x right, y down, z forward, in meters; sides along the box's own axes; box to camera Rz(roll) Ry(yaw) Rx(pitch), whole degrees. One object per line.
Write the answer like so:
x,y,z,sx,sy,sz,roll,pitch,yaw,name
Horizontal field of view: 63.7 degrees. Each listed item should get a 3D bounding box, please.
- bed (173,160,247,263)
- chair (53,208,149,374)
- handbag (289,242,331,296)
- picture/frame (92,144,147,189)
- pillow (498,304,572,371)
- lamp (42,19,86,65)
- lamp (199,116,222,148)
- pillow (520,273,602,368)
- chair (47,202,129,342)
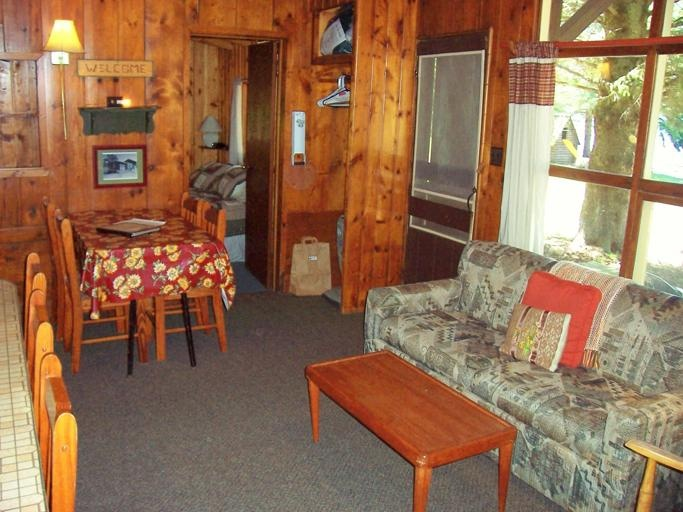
-1.587,-0.738,6.892,1.257,0.816,1.264,-7,27,-20,bed
-1.767,0.288,4.044,0.639,1.143,0.658,-4,38,-19,chair
-0.333,0.146,5.744,0.494,0.732,0.251,-2,7,-23,handbag
-2.028,-0.828,4.978,0.399,0.356,0.030,-3,10,-25,picture/frame
1.190,0.498,3.408,0.104,0.441,0.465,20,-20,-21,pillow
-2.281,-1.732,4.531,0.279,0.392,0.282,-9,19,-43,lamp
-1.967,-1.857,8.249,0.431,0.586,0.441,-2,16,-13,lamp
1.355,0.401,3.380,0.178,0.499,0.471,14,0,-37,pillow
-1.881,0.152,4.097,0.554,1.040,0.594,-5,43,-23,chair
